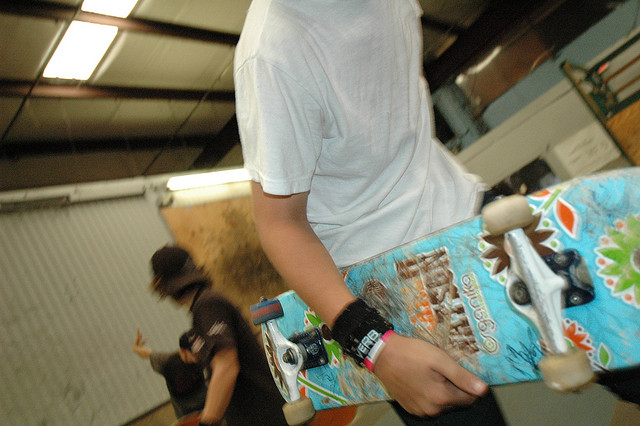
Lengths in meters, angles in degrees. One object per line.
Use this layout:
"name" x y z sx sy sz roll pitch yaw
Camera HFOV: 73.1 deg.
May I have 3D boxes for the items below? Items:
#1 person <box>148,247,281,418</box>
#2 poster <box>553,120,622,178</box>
"person" -1.069 1.193 4.406 0.879 2.493 0.351 -9 -27 -30
"poster" 2.764 -0.650 4.457 0.119 0.519 0.527 8 -32 -32
